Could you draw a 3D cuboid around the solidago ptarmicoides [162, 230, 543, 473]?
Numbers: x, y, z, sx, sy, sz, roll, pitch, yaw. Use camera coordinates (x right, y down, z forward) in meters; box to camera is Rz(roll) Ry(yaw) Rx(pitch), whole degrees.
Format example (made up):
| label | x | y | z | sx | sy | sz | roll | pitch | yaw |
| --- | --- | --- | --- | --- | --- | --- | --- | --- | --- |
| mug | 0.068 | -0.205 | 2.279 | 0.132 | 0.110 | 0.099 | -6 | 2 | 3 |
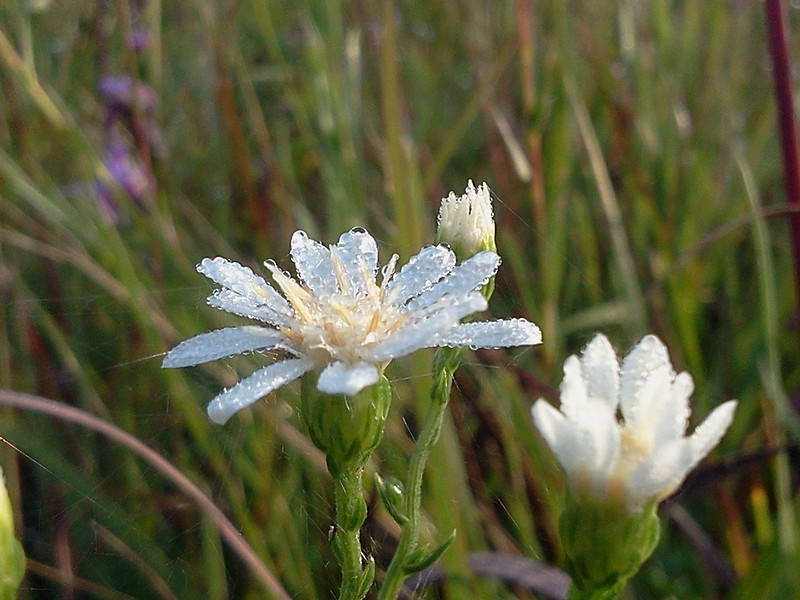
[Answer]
| label | x | y | z | sx | sy | sz | roll | pitch | yaw |
| --- | --- | --- | --- | --- | --- | --- | --- | --- | --- |
| solidago ptarmicoides | -0.120 | 0.056 | 1.512 | 0.532 | 0.249 | 0.618 | 15 | 26 | 36 |
